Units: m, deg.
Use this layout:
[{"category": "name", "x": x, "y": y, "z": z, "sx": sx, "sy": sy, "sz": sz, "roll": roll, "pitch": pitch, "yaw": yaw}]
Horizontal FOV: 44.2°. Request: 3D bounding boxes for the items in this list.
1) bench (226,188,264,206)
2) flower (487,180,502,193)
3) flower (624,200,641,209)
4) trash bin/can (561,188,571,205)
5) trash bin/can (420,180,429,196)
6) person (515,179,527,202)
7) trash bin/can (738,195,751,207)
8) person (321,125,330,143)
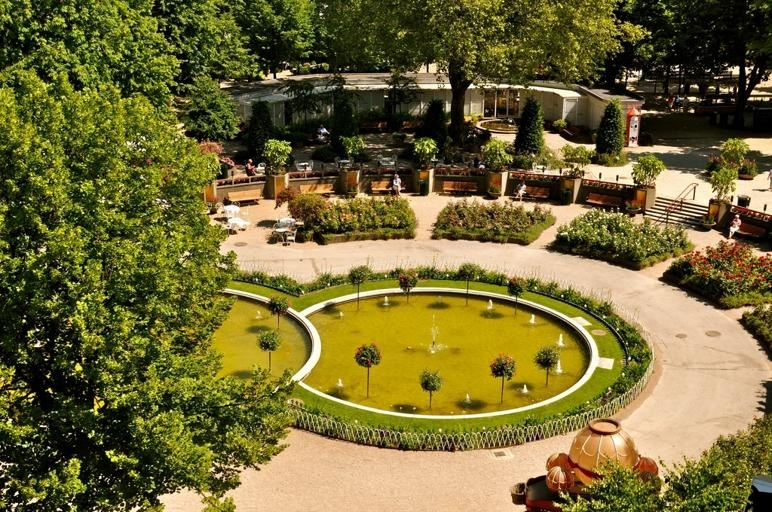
[{"category": "bench", "x": -10.312, "y": -4.398, "z": 67.874, "sx": 3.051, "sy": 1.272, "sz": 1.036, "roll": -9, "pitch": 48, "yaw": -32}, {"category": "flower", "x": 7.913, "y": -5.052, "z": 69.611, "sx": 0.723, "sy": 0.779, "sz": 0.682, "roll": -8, "pitch": 52, "yaw": 24}, {"category": "flower", "x": 16.860, "y": -3.569, "z": 65.553, "sx": 0.610, "sy": 0.453, "sz": 0.635, "roll": -1, "pitch": 9, "yaw": 2}, {"category": "trash bin/can", "x": 12.777, "y": -4.307, "z": 68.375, "sx": 0.912, "sy": 0.935, "sz": 0.908, "roll": -6, "pitch": 19, "yaw": -12}, {"category": "trash bin/can", "x": 2.911, "y": -5.028, "z": 70.512, "sx": 0.551, "sy": 0.962, "sz": 0.694, "roll": 2, "pitch": -5, "yaw": -17}, {"category": "person", "x": 9.773, "y": -4.824, "z": 69.002, "sx": 0.786, "sy": 1.516, "sz": 0.791, "roll": 14, "pitch": -6, "yaw": 4}, {"category": "trash bin/can", "x": 23.973, "y": -3.686, "z": 63.991, "sx": 0.705, "sy": 0.923, "sz": 0.754, "roll": 8, "pitch": 20, "yaw": 32}, {"category": "person", "x": -5.278, "y": -10.673, "z": 82.304, "sx": 0.412, "sy": 1.273, "sz": 1.263, "roll": -18, "pitch": -14, "yaw": 16}]
